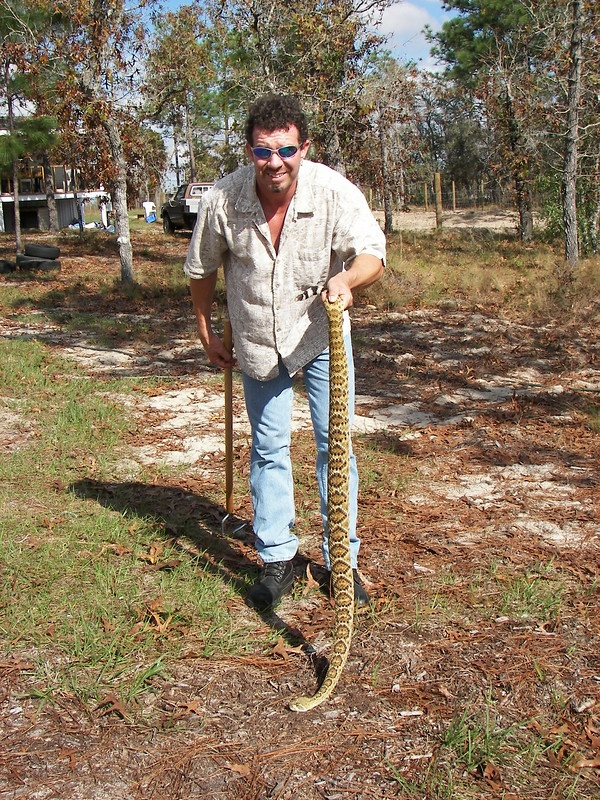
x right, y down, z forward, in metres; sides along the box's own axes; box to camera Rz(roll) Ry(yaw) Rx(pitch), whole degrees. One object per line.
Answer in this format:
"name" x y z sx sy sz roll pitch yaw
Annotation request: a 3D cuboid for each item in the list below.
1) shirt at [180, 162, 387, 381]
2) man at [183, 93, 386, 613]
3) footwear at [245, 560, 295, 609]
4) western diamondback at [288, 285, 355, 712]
"shirt" -0.097 -0.587 3.600 0.936 1.002 0.383 1 10 30
"man" -0.075 -0.180 3.617 1.083 2.267 0.988 5 19 25
"footwear" -0.137 0.928 3.912 0.133 0.143 0.348 5 3 15
"western diamondback" 0.182 0.425 3.285 0.271 1.653 0.154 4 -15 -39
